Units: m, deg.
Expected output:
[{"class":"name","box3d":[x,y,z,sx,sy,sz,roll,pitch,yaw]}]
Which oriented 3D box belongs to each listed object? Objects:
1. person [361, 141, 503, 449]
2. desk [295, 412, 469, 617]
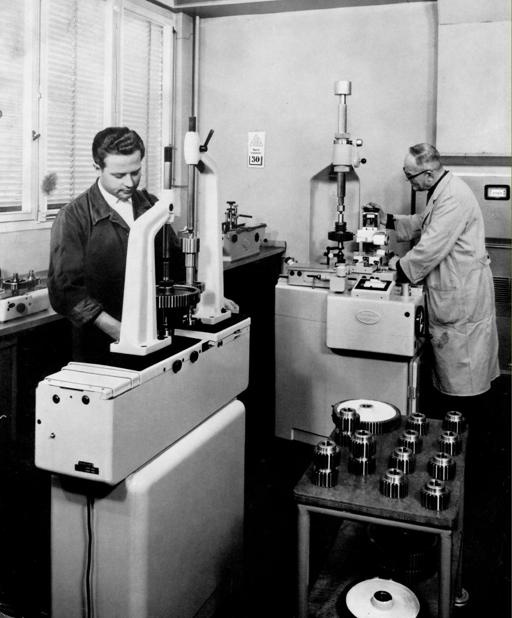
[{"class":"person","box3d":[1.002,-0.207,3.229,0.596,1.297,0.526,4,9,26]},{"class":"desk","box3d":[0.316,0.490,1.473,0.348,0.289,0.526,4,12,21]}]
